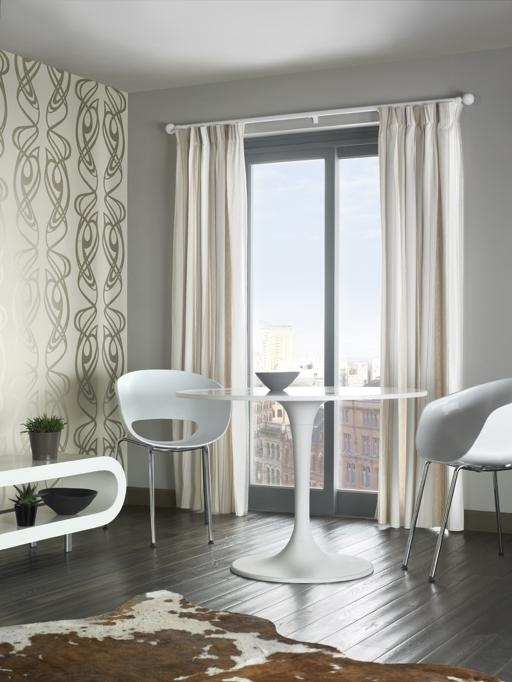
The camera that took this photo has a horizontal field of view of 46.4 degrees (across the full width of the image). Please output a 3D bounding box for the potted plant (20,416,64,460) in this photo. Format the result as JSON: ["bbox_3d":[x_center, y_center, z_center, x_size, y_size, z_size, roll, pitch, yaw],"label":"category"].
[{"bbox_3d":[-0.906,0.441,2.648,0.189,0.202,0.183,-1,-16,-4],"label":"potted plant"}]

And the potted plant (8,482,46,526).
[{"bbox_3d":[-0.903,0.651,2.432,0.164,0.185,0.163,0,-10,-3],"label":"potted plant"}]

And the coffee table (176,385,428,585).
[{"bbox_3d":[0.199,0.565,2.286,0.743,0.563,0.774,0,-8,11],"label":"coffee table"}]
